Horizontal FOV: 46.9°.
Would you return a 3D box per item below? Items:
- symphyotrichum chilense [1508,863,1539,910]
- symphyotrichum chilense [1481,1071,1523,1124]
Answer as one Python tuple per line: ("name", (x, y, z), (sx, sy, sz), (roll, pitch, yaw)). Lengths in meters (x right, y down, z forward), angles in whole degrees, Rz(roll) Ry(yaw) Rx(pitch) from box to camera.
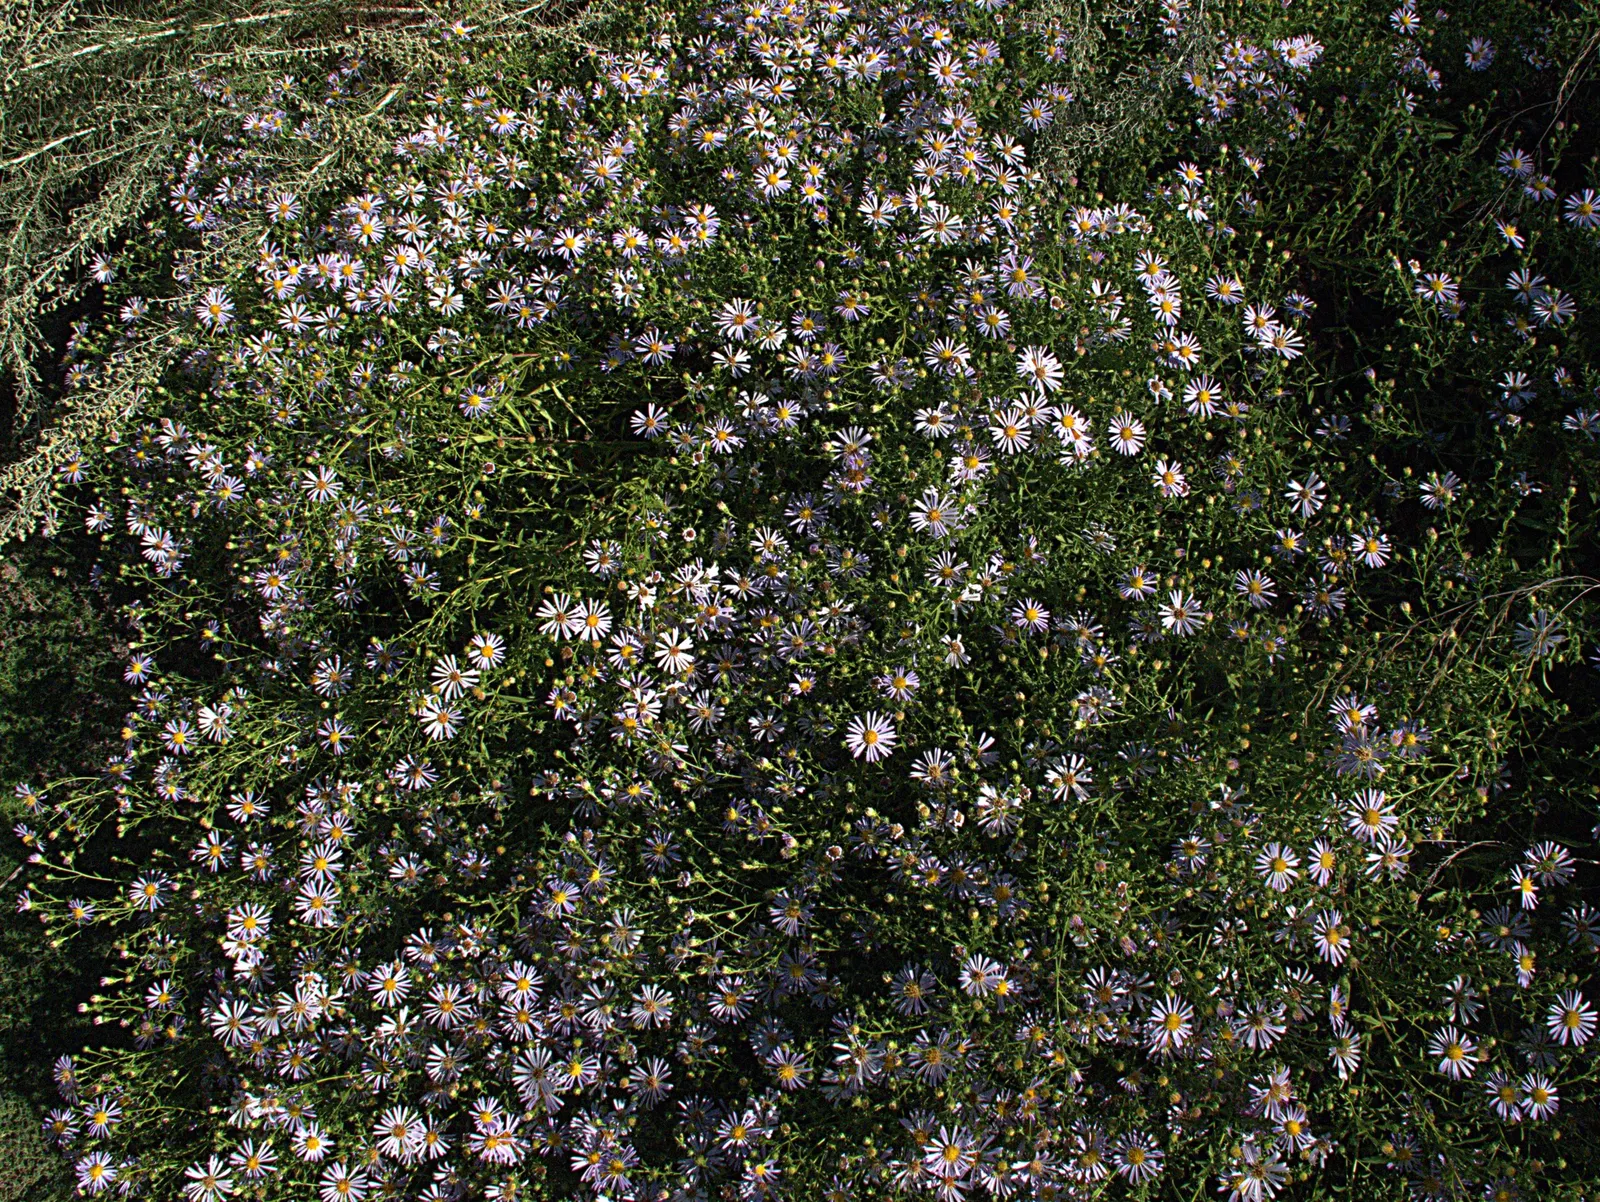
("symphyotrichum chilense", (2.977, 1.176, 7.604), (0.130, 0.176, 0.154), (12, 78, 7))
("symphyotrichum chilense", (2.838, 1.989, 7.441), (0.169, 0.077, 0.158), (24, 81, 9))
